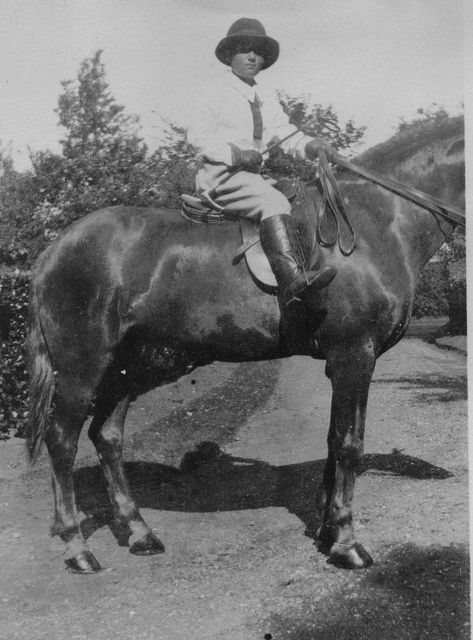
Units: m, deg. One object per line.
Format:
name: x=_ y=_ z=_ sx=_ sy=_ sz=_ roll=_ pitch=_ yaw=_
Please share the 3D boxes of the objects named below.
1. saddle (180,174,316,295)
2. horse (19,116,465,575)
saddle: x=0.083 y=-0.334 z=3.169 sx=0.568 sy=0.429 sz=0.433 roll=-10 pitch=20 yaw=-32
horse: x=-0.045 y=0.166 z=3.073 sx=1.554 sy=1.371 sz=0.515 roll=-4 pitch=9 yaw=7
